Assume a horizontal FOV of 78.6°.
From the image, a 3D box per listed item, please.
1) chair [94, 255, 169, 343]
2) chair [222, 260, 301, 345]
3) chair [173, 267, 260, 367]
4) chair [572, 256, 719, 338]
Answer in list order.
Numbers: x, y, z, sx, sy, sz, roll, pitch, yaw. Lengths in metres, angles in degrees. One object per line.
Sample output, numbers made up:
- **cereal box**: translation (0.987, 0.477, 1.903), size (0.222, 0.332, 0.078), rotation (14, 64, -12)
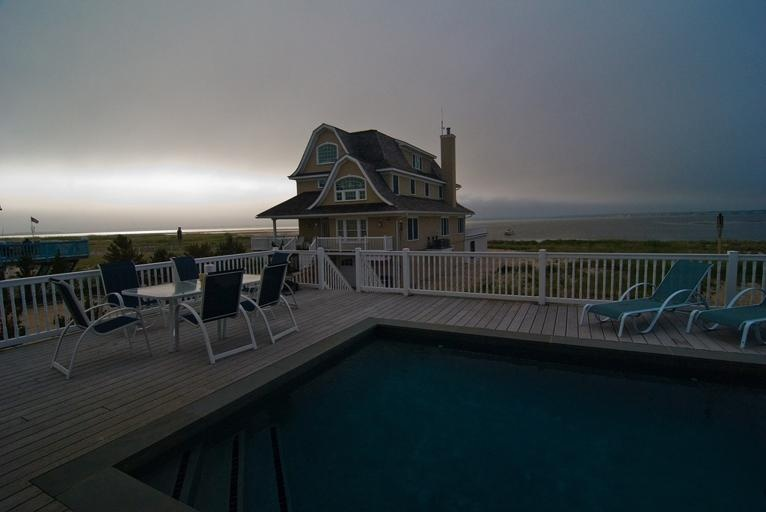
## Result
- **chair**: translation (-7.036, 0.999, 12.569), size (1.902, 2.570, 1.611), rotation (-1, 4, 23)
- **chair**: translation (-3.215, 1.070, 12.977), size (2.017, 2.605, 1.654), rotation (4, 7, 29)
- **chair**: translation (-4.243, 1.403, 11.732), size (1.925, 2.171, 1.486), rotation (7, 9, 32)
- **chair**: translation (7.119, 1.075, 12.544), size (3.809, 1.893, 1.711), rotation (-8, 5, -21)
